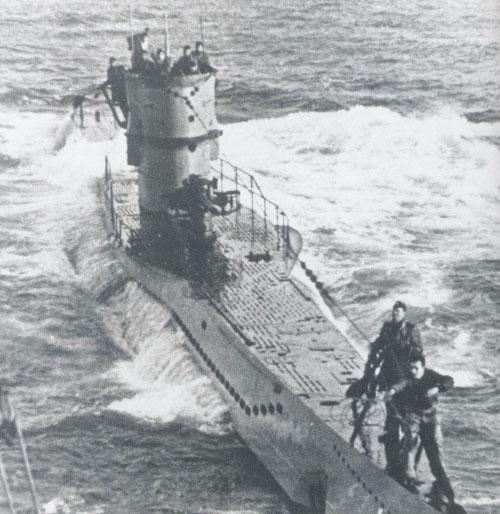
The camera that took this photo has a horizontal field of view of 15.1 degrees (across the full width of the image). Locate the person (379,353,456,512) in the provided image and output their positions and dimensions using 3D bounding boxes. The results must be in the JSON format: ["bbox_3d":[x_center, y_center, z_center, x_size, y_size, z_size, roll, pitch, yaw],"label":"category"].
[{"bbox_3d":[1.591,1.598,17.467,0.588,1.098,0.804,-2,25,-7],"label":"person"}]
